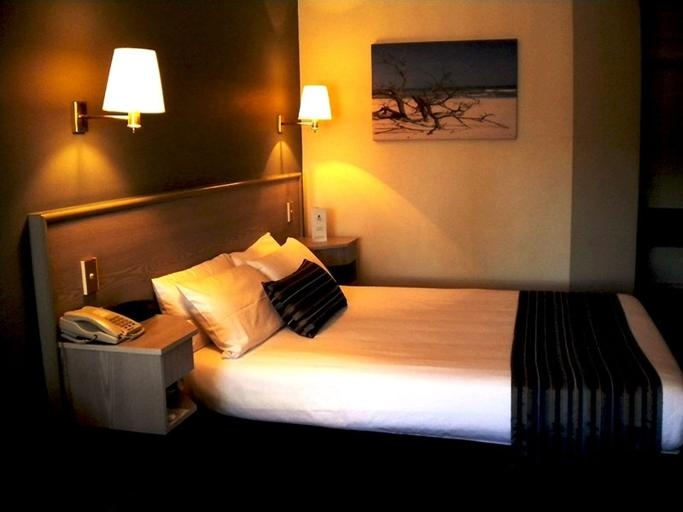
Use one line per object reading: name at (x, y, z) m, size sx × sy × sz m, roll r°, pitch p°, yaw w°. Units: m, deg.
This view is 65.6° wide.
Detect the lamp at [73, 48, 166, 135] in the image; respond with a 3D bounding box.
lamp at (-0.998, -0.709, 2.403) m, size 0.431 × 0.351 × 0.272 m, roll 3°, pitch 9°, yaw 9°

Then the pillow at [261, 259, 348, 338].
pillow at (-0.206, 0.252, 3.004) m, size 0.123 × 0.360 × 0.491 m, roll -35°, pitch 0°, yaw 21°

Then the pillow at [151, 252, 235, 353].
pillow at (-0.827, 0.228, 2.825) m, size 0.169 × 0.381 × 0.638 m, roll -33°, pitch -6°, yaw 32°

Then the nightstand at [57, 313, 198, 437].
nightstand at (-0.909, 0.494, 2.341) m, size 0.446 × 0.327 × 0.458 m, roll 2°, pitch 12°, yaw 6°

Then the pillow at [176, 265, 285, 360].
pillow at (-0.551, 0.278, 2.932) m, size 0.378 × 0.300 × 0.689 m, roll 14°, pitch 17°, yaw 14°

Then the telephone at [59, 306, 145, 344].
telephone at (-1.020, 0.293, 2.234) m, size 0.189 × 0.066 × 0.187 m, roll 4°, pitch 11°, yaw 2°

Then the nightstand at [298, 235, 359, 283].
nightstand at (-0.120, 0.008, 4.517) m, size 0.379 × 0.473 × 0.525 m, roll 3°, pitch 5°, yaw 40°

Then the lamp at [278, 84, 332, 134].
lamp at (-0.296, -1.157, 4.289) m, size 0.471 × 0.340 × 0.293 m, roll -3°, pitch 13°, yaw 1°
